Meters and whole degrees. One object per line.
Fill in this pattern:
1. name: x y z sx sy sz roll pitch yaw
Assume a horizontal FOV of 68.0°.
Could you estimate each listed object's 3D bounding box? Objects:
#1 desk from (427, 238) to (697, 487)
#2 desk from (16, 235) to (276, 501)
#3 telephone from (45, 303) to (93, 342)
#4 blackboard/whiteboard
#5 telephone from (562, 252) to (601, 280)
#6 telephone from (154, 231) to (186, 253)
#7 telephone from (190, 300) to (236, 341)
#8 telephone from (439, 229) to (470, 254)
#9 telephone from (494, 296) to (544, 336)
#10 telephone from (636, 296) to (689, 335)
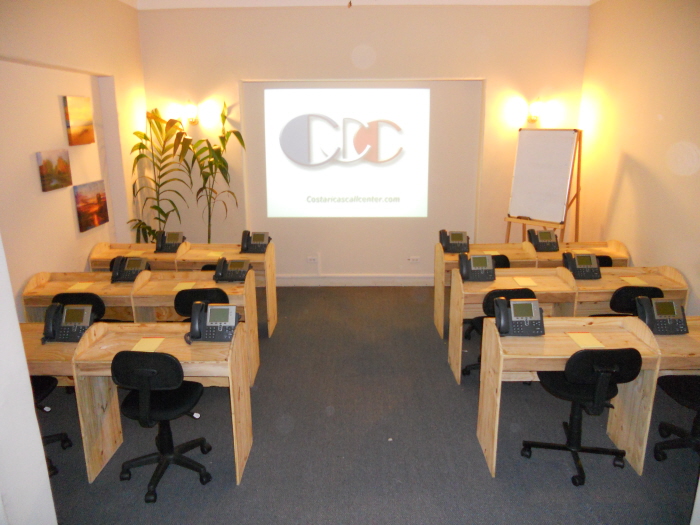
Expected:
1. desk: 1.906 0.888 5.219 1.634 0.912 2.254 -1 18 0
2. desk: -2.156 0.789 5.263 2.540 1.465 2.718 -1 13 -2
3. telephone: -2.399 0.508 4.380 0.391 0.297 0.172 -1 13 -3
4. blackboard/whiteboard: 2.766 -1.211 7.428 0.096 1.364 0.901 -10 20 -37
5. telephone: 2.543 -0.022 5.700 0.470 0.350 0.261 -1 9 -1
6. telephone: -2.312 -0.277 6.630 0.294 0.198 0.311 -3 21 -13
7. telephone: -1.145 0.495 4.290 0.431 0.312 0.178 -3 13 -12
8. telephone: 1.321 -0.256 6.537 0.470 0.373 0.254 0 0 2
9. telephone: 1.432 0.446 4.328 0.444 0.305 0.210 1 13 4
10. telephone: 2.633 0.450 4.383 0.413 0.316 0.153 2 -30 -1
